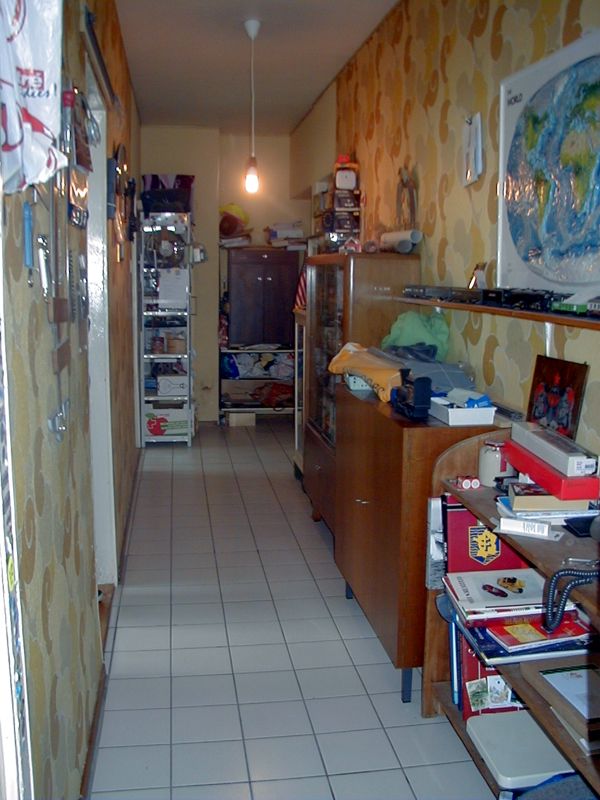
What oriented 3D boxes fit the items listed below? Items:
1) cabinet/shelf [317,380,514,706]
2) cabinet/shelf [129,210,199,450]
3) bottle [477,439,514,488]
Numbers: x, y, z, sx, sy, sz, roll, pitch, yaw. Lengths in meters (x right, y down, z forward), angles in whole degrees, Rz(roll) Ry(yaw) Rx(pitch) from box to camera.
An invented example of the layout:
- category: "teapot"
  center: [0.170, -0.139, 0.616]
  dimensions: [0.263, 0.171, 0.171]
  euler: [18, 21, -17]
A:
- category: "cabinet/shelf"
  center: [0.435, 0.531, 2.170]
  dimensions: [0.324, 0.978, 0.945]
  euler: [1, 11, -3]
- category: "cabinet/shelf"
  center: [-1.363, -0.700, 5.969]
  dimensions: [0.543, 2.334, 0.289]
  euler: [-1, 7, -12]
- category: "bottle"
  center: [0.636, 0.218, 2.005]
  dimensions: [0.111, 0.152, 0.124]
  euler: [-3, 13, -11]
